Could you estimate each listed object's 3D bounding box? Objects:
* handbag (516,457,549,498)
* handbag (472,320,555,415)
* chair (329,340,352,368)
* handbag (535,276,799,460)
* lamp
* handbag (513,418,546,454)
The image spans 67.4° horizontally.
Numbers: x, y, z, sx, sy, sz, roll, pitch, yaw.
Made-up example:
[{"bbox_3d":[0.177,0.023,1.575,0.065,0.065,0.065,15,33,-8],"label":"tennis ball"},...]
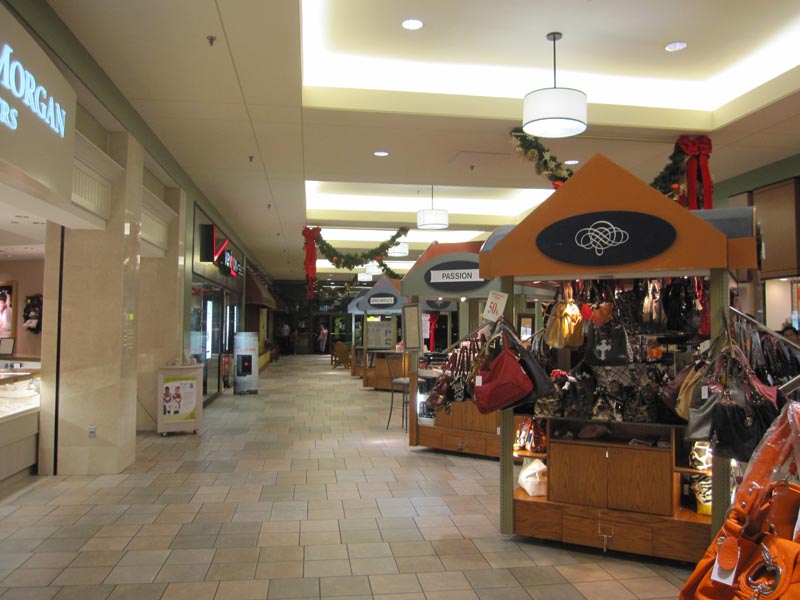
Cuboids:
[{"bbox_3d":[1.219,1.607,5.402,0.259,0.315,0.355,2,-21,-3],"label":"handbag"},{"bbox_3d":[0.949,0.590,5.020,0.679,0.683,0.390,-25,-12,31],"label":"handbag"},{"bbox_3d":[-2.170,2.008,21.704,0.968,1.346,0.914,1,-7,-7],"label":"chair"},{"bbox_3d":[2.286,0.509,4.821,1.074,1.349,1.700,8,-9,-42],"label":"handbag"},{"bbox_3d":[1.553,-2.191,6.031,0.644,0.988,0.672,2,-4,-8],"label":"lamp"},{"bbox_3d":[1.287,1.350,5.907,0.195,0.365,0.369,15,-14,-38],"label":"handbag"}]
